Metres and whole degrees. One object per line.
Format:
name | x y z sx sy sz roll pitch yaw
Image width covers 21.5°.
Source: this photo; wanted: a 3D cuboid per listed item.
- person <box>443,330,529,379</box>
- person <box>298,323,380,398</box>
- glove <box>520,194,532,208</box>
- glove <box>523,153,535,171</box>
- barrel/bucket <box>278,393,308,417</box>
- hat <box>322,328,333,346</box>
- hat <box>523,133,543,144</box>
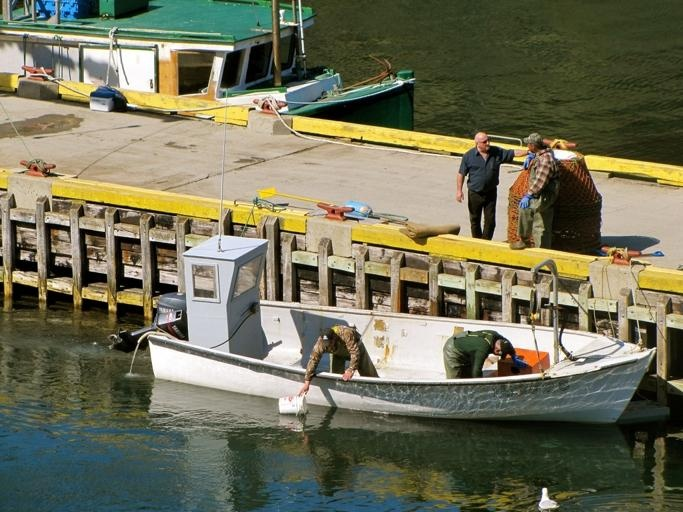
person | 2.323 1.650 29.773 1.270 0.810 0.597 1 11 2
person | 0.000 1.783 30.153 0.782 0.966 1.387 7 -23 44
glove | 3.137 -0.937 30.681 0.114 0.248 0.150 20 9 -45
glove | 3.309 -1.661 31.052 0.101 0.266 0.221 24 -16 -20
barrel/bucket | -0.834 2.498 30.171 0.623 0.370 0.387 -5 29 9
hat | -0.247 1.342 29.589 0.206 0.234 0.133 1 -19 13
hat | 3.250 -2.007 30.732 0.300 0.127 0.209 13 29 28
